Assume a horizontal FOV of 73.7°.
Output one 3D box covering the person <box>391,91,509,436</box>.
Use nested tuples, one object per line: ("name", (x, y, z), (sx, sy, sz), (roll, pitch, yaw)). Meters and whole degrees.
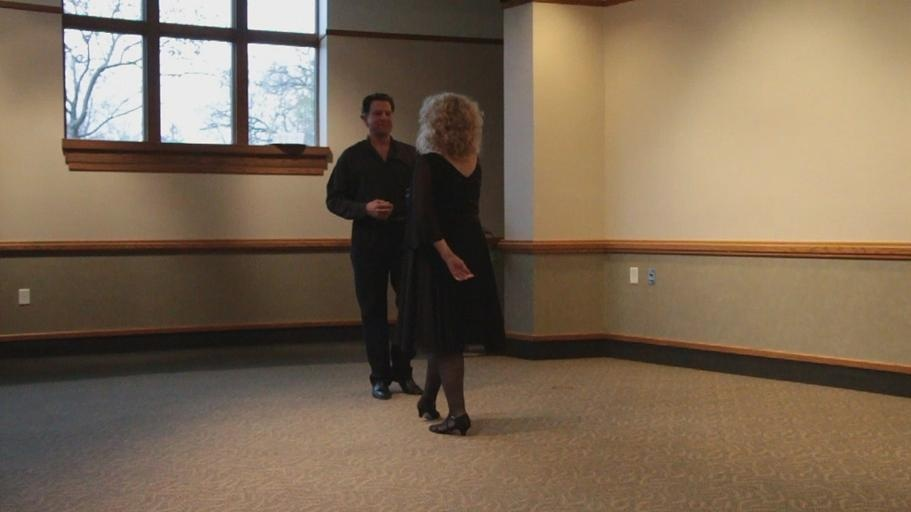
("person", (-0.037, -0.253, 4.654), (0.773, 1.921, 0.533), (-1, 11, -5))

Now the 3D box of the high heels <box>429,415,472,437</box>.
("high heels", (-0.038, 1.303, 4.753), (0.299, 0.150, 0.153), (3, 1, 10))

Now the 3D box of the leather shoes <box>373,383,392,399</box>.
("leather shoes", (-0.663, 1.199, 5.437), (0.172, 0.120, 0.129), (0, 11, 1))

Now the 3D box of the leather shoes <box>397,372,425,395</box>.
("leather shoes", (-0.366, 1.177, 5.538), (0.327, 0.137, 0.109), (0, -2, 29))
